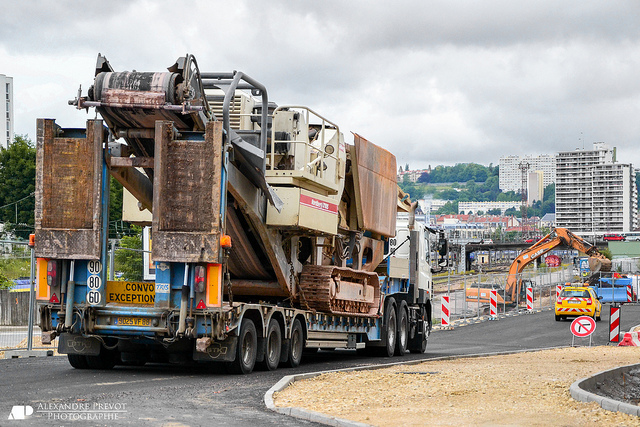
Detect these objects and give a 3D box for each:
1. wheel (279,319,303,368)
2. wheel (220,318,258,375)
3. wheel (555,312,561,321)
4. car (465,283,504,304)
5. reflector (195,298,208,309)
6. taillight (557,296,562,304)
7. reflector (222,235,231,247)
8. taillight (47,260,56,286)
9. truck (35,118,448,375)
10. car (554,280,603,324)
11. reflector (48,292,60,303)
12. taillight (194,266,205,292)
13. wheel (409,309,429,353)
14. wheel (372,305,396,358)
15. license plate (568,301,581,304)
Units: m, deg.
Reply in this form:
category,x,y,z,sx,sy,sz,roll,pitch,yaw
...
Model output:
category,x,y,z,sx,sy,sz,roll,pitch,yaw
wheel,-0.811,3.470,29.546,0.330,1.136,1.068,4,18,21
wheel,-2.006,3.320,27.547,0.472,1.615,1.516,-2,-8,19
wheel,11.251,4.795,51.701,0.174,0.517,0.486,1,4,7
car,8.199,4.118,56.706,1.796,0.913,1.900,2,-1,-11
reflector,-2.831,2.140,26.256,0.222,0.261,0.026,2,4,18
taillight,11.349,4.103,51.822,0.202,0.327,0.610,3,0,10
reflector,-2.234,0.689,26.125,0.316,0.356,0.183,1,-4,-16
taillight,-6.469,1.404,26.413,0.223,0.555,0.067,3,1,15
truck,-2.295,1.051,31.306,5.252,5.851,13.168,0,-1,26
car,12.303,4.314,52.284,2.069,1.906,3.135,4,0,11
reflector,-6.437,1.999,26.493,0.213,0.218,0.026,3,10,13
taillight,-2.880,1.552,26.172,0.247,0.570,0.143,1,0,6
wheel,3.309,3.947,36.921,0.315,1.059,1.024,8,33,8
wheel,2.201,3.869,34.846,0.359,1.350,1.280,5,-10,4
license plate,11.983,4.152,51.466,0.545,0.129,0.128,4,0,9
